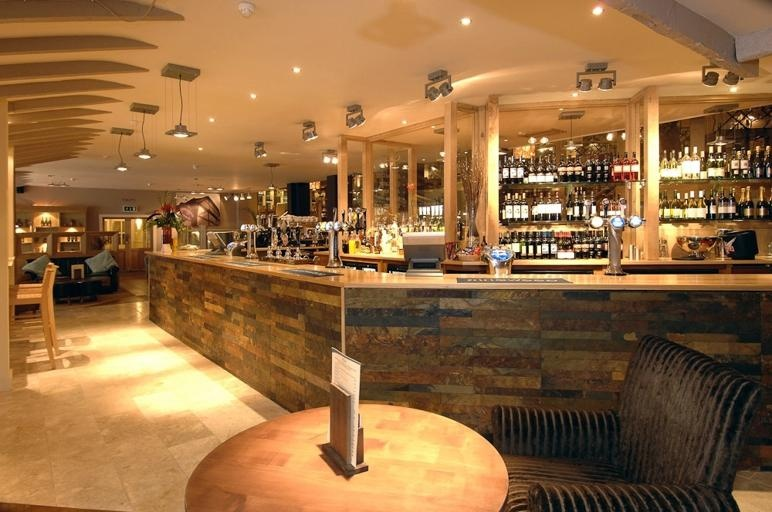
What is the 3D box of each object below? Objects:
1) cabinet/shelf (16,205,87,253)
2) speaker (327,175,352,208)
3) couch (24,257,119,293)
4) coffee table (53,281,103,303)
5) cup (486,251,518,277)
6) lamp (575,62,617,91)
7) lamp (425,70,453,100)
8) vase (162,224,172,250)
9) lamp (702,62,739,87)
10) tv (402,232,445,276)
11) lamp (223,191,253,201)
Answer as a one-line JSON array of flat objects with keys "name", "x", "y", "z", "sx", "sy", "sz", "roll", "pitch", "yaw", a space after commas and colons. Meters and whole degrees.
[{"name": "cabinet/shelf", "x": -9.751, "y": -0.663, "z": 15.931, "sx": 1.815, "sy": 1.339, "sz": 0.590, "roll": -2, "pitch": 5, "yaw": -43}, {"name": "speaker", "x": -1.059, "y": -1.590, "z": 13.582, "sx": 0.643, "sy": 0.811, "sz": 0.623, "roll": -5, "pitch": 10, "yaw": -31}, {"name": "couch", "x": -6.667, "y": 0.485, "z": 12.109, "sx": 1.431, "sy": 0.587, "sz": 0.636, "roll": -2, "pitch": 5, "yaw": -24}, {"name": "coffee table", "x": -6.525, "y": 0.747, "z": 11.600, "sx": 0.583, "sy": 0.204, "sz": 0.521, "roll": 1, "pitch": 4, "yaw": 10}, {"name": "cup", "x": 1.079, "y": 0.074, "z": 5.190, "sx": 0.224, "sy": 0.266, "sz": 0.346, "roll": 2, "pitch": 11, "yaw": 11}, {"name": "lamp", "x": 2.517, "y": -2.156, "z": 6.687, "sx": 0.450, "sy": 0.315, "sz": 0.520, "roll": -1, "pitch": 11, "yaw": -2}, {"name": "lamp", "x": 0.643, "y": -2.118, "z": 6.770, "sx": 0.373, "sy": 0.303, "sz": 0.134, "roll": -2, "pitch": -2, "yaw": 41}, {"name": "vase", "x": -3.822, "y": -0.323, "z": 9.613, "sx": 0.151, "sy": 0.421, "sz": 0.333, "roll": -3, "pitch": 12, "yaw": -11}, {"name": "lamp", "x": 3.906, "y": -2.128, "z": 6.425, "sx": 0.212, "sy": 0.162, "sz": 0.281, "roll": 28, "pitch": -8, "yaw": -40}, {"name": "tv", "x": 0.396, "y": -0.008, "z": 5.479, "sx": 0.489, "sy": 0.401, "sz": 0.386, "roll": -1, "pitch": -10, "yaw": 19}, {"name": "lamp", "x": -5.495, "y": -2.186, "z": 20.370, "sx": 1.130, "sy": 0.365, "sz": 0.268, "roll": -3, "pitch": 12, "yaw": -12}]
